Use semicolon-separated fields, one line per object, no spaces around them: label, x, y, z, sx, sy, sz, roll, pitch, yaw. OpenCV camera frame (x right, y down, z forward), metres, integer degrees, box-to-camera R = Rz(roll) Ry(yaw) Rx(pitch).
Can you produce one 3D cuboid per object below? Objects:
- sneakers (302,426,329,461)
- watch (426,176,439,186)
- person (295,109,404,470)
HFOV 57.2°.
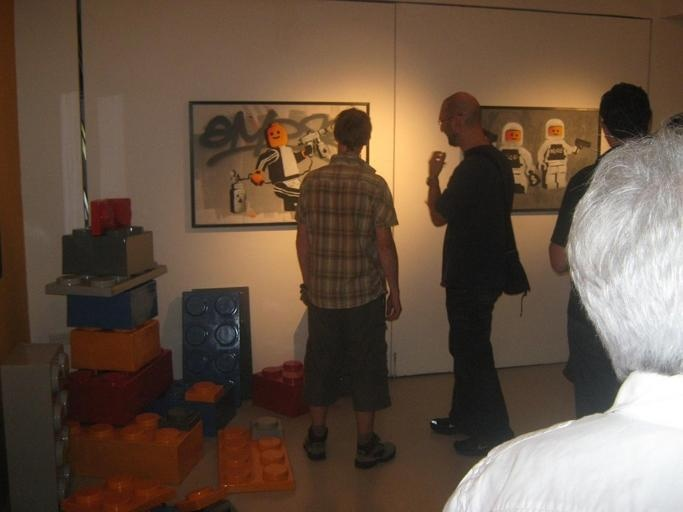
sneakers;-0.161;1.145;3.856;0.119;0.205;0.212;1;12;-8
watch;0.597;-0.483;4.066;0.061;0.038;0.060;-3;4;11
person;0.050;0.213;3.680;0.673;2.097;0.380;4;13;3
